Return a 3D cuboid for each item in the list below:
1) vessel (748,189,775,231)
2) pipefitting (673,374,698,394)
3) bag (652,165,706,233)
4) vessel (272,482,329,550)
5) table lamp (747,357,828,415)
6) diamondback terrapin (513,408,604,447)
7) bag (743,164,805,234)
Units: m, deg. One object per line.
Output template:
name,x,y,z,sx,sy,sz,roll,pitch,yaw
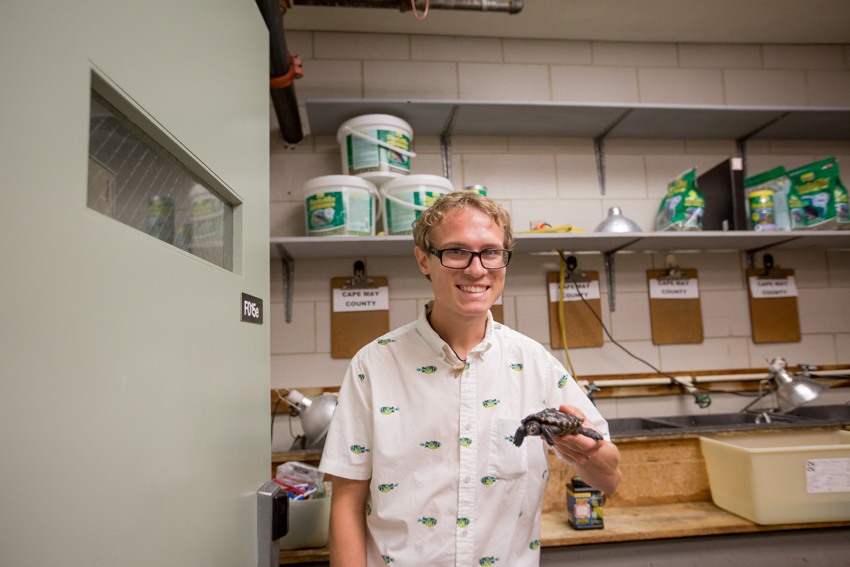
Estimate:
vessel,1.539,-0.330,3.307,0.117,0.197,0.089,-6,-11,15
pipefitting,1.209,0.469,3.369,0.093,0.082,0.116,-7,-12,17
bag,1.192,-0.373,3.386,0.162,0.289,0.276,5,-3,-12
vessel,-0.424,0.873,2.723,0.182,0.181,0.242,-6,-11,37
table lamp,1.575,0.444,3.213,0.267,0.246,0.313,13,-30,-42
diamondback terrapin,0.390,0.420,2.126,0.175,0.068,0.132,-4,-13,-12
bag,1.572,-0.385,3.395,0.225,0.289,0.153,-4,0,13
